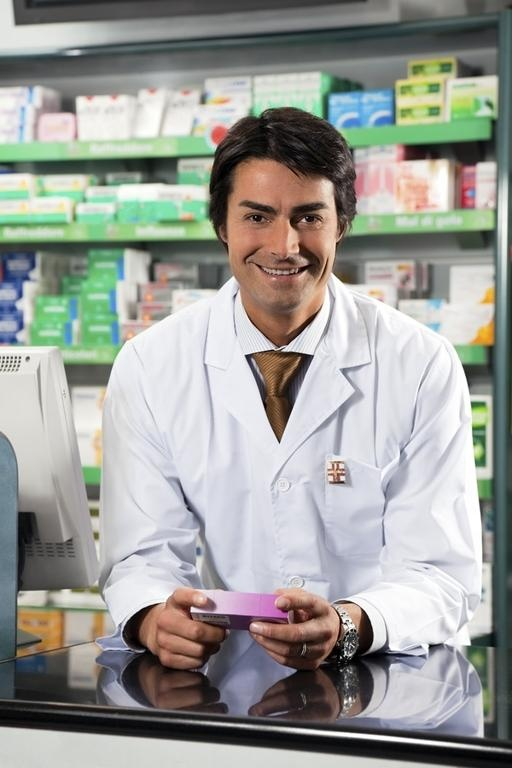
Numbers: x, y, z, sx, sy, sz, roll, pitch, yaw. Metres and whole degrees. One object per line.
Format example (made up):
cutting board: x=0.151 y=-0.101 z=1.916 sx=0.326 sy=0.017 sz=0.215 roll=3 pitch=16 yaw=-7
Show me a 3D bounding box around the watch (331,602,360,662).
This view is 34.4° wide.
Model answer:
watch: x=0.112 y=0.309 z=1.024 sx=0.030 sy=0.057 sz=0.047 roll=-6 pitch=-16 yaw=-20
